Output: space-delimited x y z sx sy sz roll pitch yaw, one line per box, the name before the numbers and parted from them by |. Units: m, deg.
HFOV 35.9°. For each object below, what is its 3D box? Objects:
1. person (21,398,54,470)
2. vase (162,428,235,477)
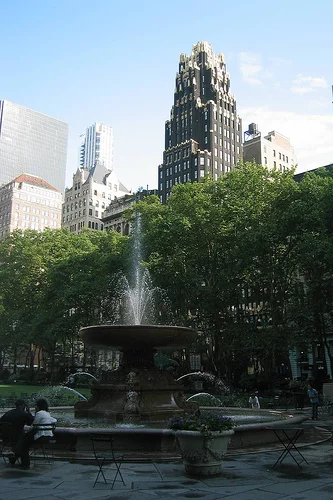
person | -2.267 3.208 9.090 0.573 1.051 0.917 0 -12 -12
vase | 0.607 3.168 8.076 0.908 0.564 0.795 3 -34 -7
